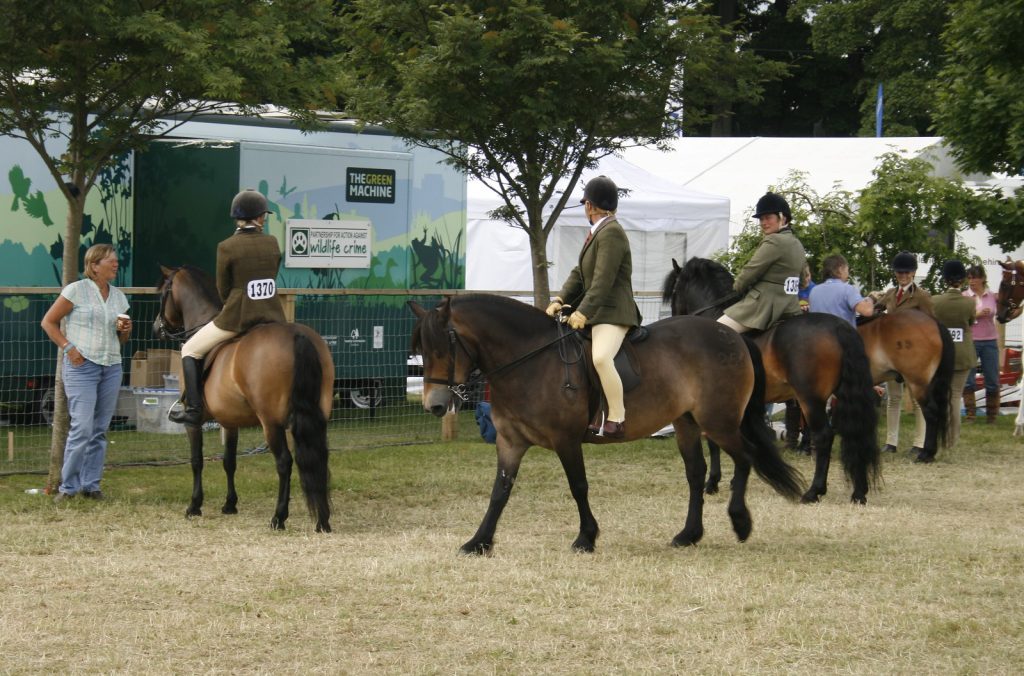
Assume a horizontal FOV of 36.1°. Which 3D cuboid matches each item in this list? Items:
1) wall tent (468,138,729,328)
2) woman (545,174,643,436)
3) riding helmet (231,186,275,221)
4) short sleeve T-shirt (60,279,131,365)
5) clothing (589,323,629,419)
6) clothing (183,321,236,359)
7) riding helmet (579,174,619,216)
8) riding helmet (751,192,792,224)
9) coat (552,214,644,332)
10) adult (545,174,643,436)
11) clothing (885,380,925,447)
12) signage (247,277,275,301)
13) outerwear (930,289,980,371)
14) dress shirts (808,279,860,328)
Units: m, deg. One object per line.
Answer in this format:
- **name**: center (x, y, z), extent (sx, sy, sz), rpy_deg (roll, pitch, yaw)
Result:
- **wall tent**: center (1.465, -1.891, 29.741), extent (3.621, 2.888, 3.614), rpy_deg (2, -2, -34)
- **woman**: center (1.002, -0.362, 18.406), extent (0.968, 2.977, 1.033), rpy_deg (-3, 12, -19)
- **riding helmet**: center (-3.224, -1.661, 19.595), extent (0.337, 0.272, 0.456), rpy_deg (8, 13, 31)
- **short sleeve T-shirt**: center (-5.361, -0.191, 20.090), extent (0.596, 1.143, 1.064), rpy_deg (-5, -6, 43)
- **clothing**: center (1.118, 0.411, 18.250), extent (0.392, 1.102, 0.333), rpy_deg (1, 11, 2)
- **clothing**: center (-3.826, 0.056, 19.644), extent (0.658, 0.386, 0.267), rpy_deg (-35, -8, -7)
- **riding helmet**: center (1.020, -1.692, 18.513), extent (0.335, 0.302, 0.458), rpy_deg (-2, 22, -12)
- **riding helmet**: center (3.459, -1.712, 20.696), extent (0.414, 0.263, 0.313), rpy_deg (3, -7, -34)
- **coat**: center (0.982, -0.761, 18.529), extent (0.969, 1.395, 0.951), rpy_deg (2, -1, -7)
- **adult**: center (1.000, -0.361, 18.398), extent (0.967, 2.977, 1.031), rpy_deg (-4, 12, -21)
- **clothing**: center (6.003, 1.054, 23.802), extent (0.669, 1.356, 0.393), rpy_deg (-2, 21, 3)
- **signage**: center (-3.126, -0.610, 19.431), extent (0.269, 0.194, 0.036), rpy_deg (-3, 6, -32)
- **outerwear**: center (6.835, -0.047, 24.963), extent (0.868, 1.419, 0.746), rpy_deg (4, -10, -13)
- **dress shirts**: center (4.647, -0.408, 22.666), extent (0.857, 0.912, 0.484), rpy_deg (5, 11, 33)
